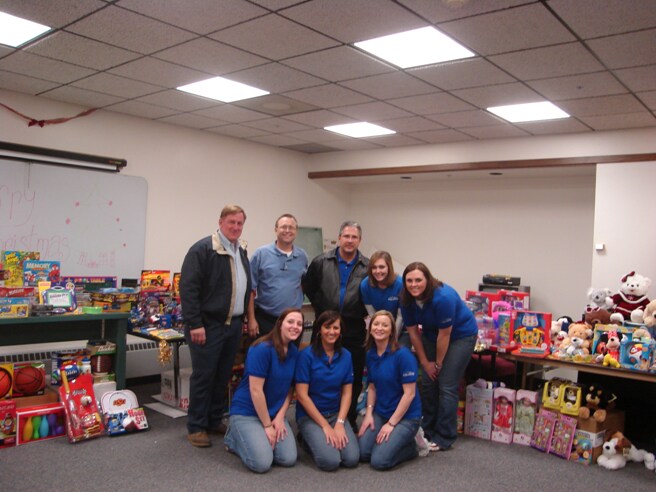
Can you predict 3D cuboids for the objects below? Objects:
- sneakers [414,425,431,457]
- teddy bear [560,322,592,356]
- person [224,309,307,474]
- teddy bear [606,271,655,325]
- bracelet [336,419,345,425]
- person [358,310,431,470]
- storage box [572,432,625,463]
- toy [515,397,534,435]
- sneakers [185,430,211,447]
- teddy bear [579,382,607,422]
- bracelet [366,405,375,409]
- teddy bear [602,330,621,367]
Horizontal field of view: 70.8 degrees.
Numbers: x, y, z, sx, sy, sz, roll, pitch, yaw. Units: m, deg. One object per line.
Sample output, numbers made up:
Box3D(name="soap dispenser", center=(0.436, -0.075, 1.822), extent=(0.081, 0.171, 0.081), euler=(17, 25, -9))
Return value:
Box3D(name="sneakers", center=(0.786, 1.613, 3.835), extent=(0.131, 0.297, 0.108), euler=(-5, 6, 15))
Box3D(name="teddy bear", center=(2.252, 0.846, 4.183), extent=(0.203, 0.292, 0.189), euler=(-1, -30, 48))
Box3D(name="person", center=(-0.485, 1.069, 3.545), extent=(0.572, 1.179, 0.435), euler=(1, 2, -12))
Box3D(name="teddy bear", center=(3.003, 0.517, 4.546), extent=(0.347, 0.570, 0.425), euler=(7, -3, -42))
Box3D(name="bracelet", center=(0.101, 1.373, 3.626), extent=(0.044, 0.020, 0.050), euler=(28, -33, -34))
Box3D(name="person", center=(0.502, 1.121, 3.647), extent=(0.477, 1.181, 0.403), euler=(2, 2, 11))
Box3D(name="storage box", center=(2.190, 1.634, 3.749), extent=(0.212, 0.141, 0.114), euler=(30, -8, -21))
Box3D(name="toy", center=(1.757, 1.502, 4.117), extent=(0.162, 0.335, 0.044), euler=(4, 3, 37))
Box3D(name="sneakers", center=(-1.049, 1.575, 3.810), extent=(0.095, 0.077, 0.194), euler=(9, -12, -37))
Box3D(name="teddy bear", center=(2.198, 1.300, 3.836), extent=(0.207, 0.279, 0.165), euler=(-1, -24, 46))
Box3D(name="bracelet", center=(0.355, 1.308, 3.781), extent=(0.055, 0.034, 0.065), euler=(2, 0, 11))
Box3D(name="teddy bear", center=(2.428, 0.866, 3.956), extent=(0.126, 0.276, 0.290), euler=(3, 2, 31))
